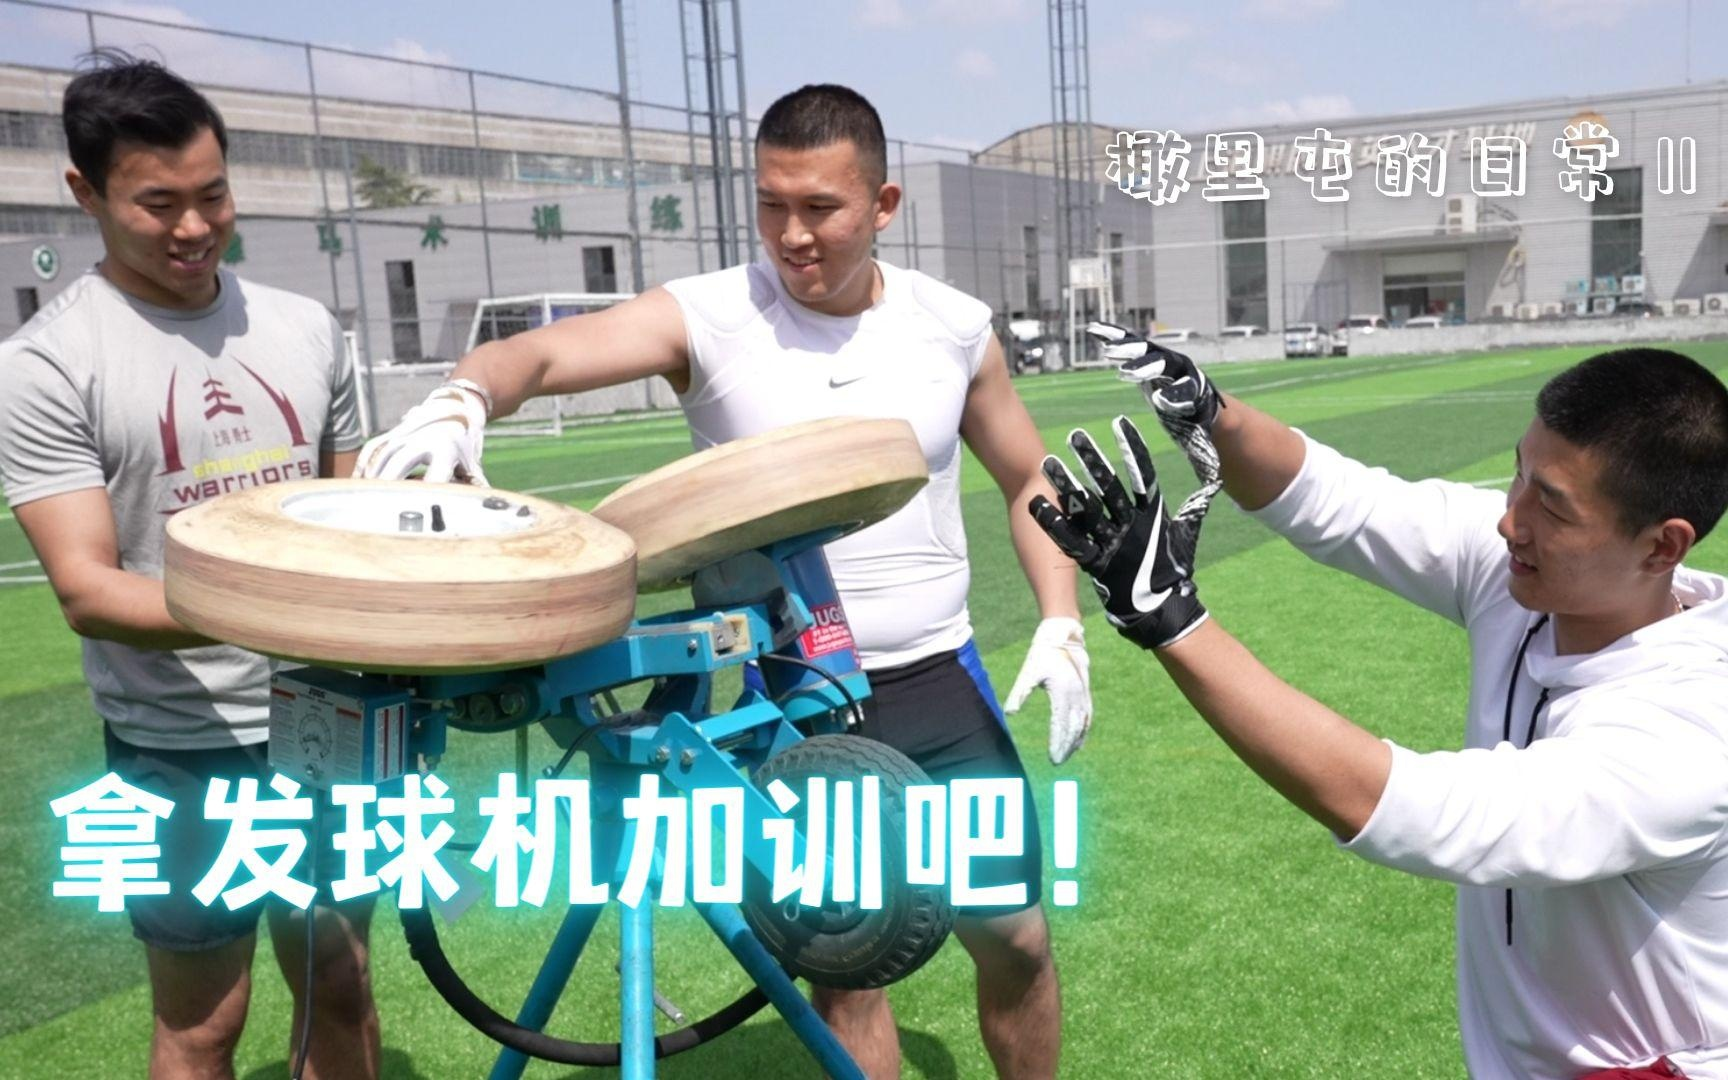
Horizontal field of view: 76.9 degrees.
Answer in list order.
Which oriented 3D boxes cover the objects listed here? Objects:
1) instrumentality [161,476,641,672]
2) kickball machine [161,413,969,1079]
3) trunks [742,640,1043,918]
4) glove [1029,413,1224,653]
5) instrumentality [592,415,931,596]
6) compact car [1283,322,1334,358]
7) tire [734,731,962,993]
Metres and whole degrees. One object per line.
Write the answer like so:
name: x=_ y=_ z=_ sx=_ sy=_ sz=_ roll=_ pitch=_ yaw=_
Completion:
instrumentality: x=-0.771 y=0.081 z=1.844 sx=0.749 sy=0.290 sz=0.431 roll=2 pitch=14 yaw=5
kickball machine: x=-0.460 y=0.345 z=2.495 sx=1.599 sy=1.574 sz=1.271 roll=-1 pitch=7 yaw=5
trunks: x=0.052 y=0.524 z=2.374 sx=0.768 sy=0.636 sz=0.404 roll=-8 pitch=-7 yaw=-8
glove: x=0.435 y=0.021 z=2.114 sx=0.394 sy=0.462 sz=0.142 roll=-25 pitch=-3 yaw=-16
instrumentality: x=-0.164 y=-0.099 z=2.089 sx=0.451 sy=0.150 sz=0.436 roll=-11 pitch=-10 yaw=-34
compact car: x=15.728 y=-7.076 z=38.471 sx=1.273 sy=0.985 sz=2.308 roll=0 pitch=6 yaw=25
tire: x=-0.044 y=0.645 z=2.106 sx=0.432 sy=0.541 sz=0.238 roll=2 pitch=15 yaw=6
